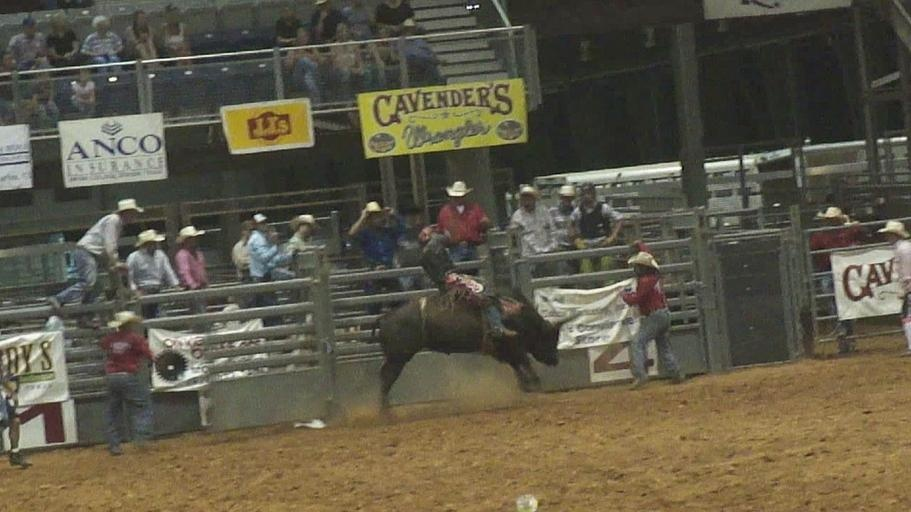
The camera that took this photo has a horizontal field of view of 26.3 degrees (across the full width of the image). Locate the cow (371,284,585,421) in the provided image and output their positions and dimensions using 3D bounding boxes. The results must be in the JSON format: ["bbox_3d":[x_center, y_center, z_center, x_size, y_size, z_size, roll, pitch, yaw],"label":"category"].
[{"bbox_3d":[0.325,2.355,50.307,4.639,3.197,0.998,-7,0,4],"label":"cow"}]

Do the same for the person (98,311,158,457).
[{"bbox_3d":[-8.430,3.200,50.377,1.380,3.681,0.796,-8,0,-9],"label":"person"}]

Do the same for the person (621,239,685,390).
[{"bbox_3d":[5.136,1.615,50.956,1.227,3.648,0.608,-9,0,-8],"label":"person"}]
